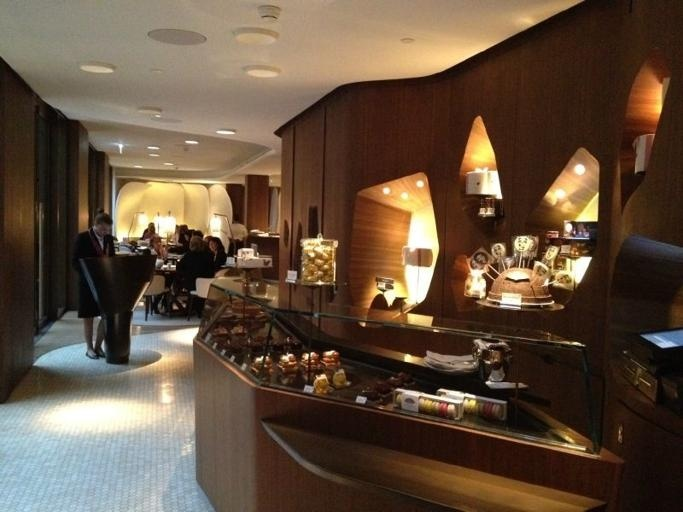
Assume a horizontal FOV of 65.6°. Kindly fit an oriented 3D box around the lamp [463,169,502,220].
[{"bbox_3d":[1.214,-0.535,4.524,0.185,0.471,0.282,-1,6,-27],"label":"lamp"}]

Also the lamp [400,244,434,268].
[{"bbox_3d":[0.789,0.005,5.262,0.337,0.192,0.256,1,8,-2],"label":"lamp"}]

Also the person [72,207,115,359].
[{"bbox_3d":[-2.904,0.351,6.345,0.729,1.645,0.592,0,0,-3],"label":"person"}]

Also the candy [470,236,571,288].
[{"bbox_3d":[1.363,0.061,3.903,0.405,0.395,0.753,-3,7,-34],"label":"candy"}]
